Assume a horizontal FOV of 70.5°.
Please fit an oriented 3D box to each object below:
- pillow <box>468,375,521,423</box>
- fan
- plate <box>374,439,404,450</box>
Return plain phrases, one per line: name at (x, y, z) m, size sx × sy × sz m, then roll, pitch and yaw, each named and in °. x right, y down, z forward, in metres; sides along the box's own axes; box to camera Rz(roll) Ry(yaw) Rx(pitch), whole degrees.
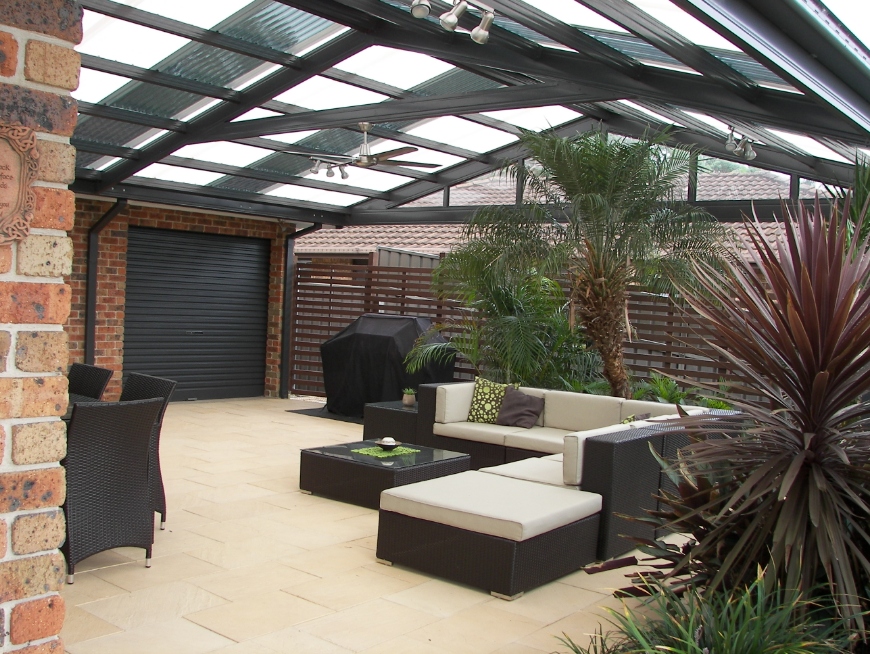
pillow at (0.602, 0.884, 7.099) m, size 0.686 × 0.434 × 0.167 m, roll 12°, pitch -13°, yaw 11°
fan at (-0.904, -2.022, 7.428) m, size 1.399 × 0.274 × 1.169 m, roll 2°, pitch 4°, yaw 8°
plate at (-0.506, 1.177, 6.118) m, size 0.211 × 0.050 × 0.184 m, roll 2°, pitch 1°, yaw 18°
